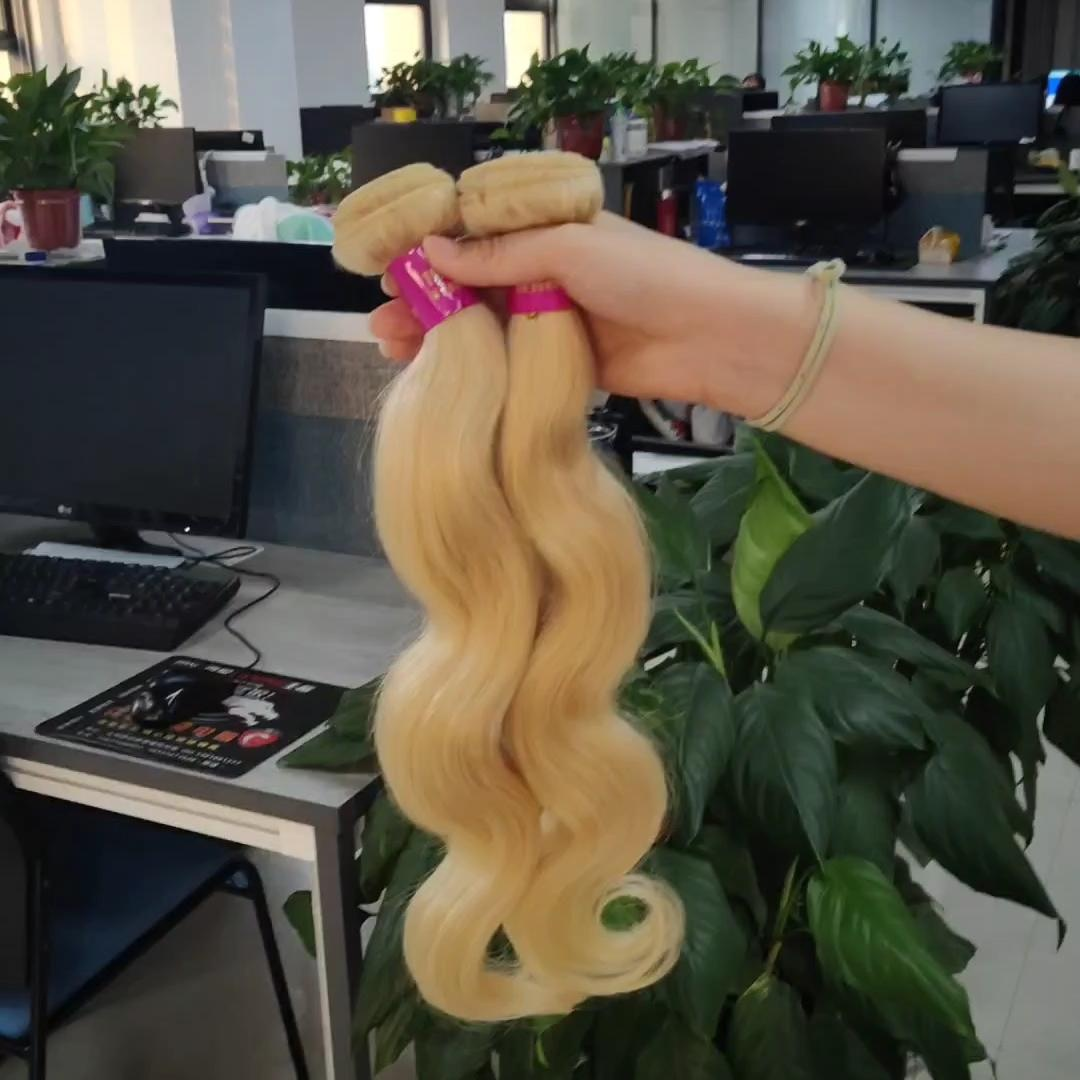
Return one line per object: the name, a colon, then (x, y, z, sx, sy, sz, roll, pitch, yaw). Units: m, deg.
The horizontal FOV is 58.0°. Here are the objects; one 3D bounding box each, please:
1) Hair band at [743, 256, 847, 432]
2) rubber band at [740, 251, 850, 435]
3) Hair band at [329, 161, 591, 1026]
Hair band: (0.168, -0.130, 0.611, 0.024, 0.100, 0.073, 16, 0, -3)
rubber band: (0.167, -0.127, 0.611, 0.024, 0.100, 0.073, 17, 1, -4)
Hair band: (-0.042, 0.101, 0.584, 0.111, 0.514, 0.101, 0, 16, 8)
